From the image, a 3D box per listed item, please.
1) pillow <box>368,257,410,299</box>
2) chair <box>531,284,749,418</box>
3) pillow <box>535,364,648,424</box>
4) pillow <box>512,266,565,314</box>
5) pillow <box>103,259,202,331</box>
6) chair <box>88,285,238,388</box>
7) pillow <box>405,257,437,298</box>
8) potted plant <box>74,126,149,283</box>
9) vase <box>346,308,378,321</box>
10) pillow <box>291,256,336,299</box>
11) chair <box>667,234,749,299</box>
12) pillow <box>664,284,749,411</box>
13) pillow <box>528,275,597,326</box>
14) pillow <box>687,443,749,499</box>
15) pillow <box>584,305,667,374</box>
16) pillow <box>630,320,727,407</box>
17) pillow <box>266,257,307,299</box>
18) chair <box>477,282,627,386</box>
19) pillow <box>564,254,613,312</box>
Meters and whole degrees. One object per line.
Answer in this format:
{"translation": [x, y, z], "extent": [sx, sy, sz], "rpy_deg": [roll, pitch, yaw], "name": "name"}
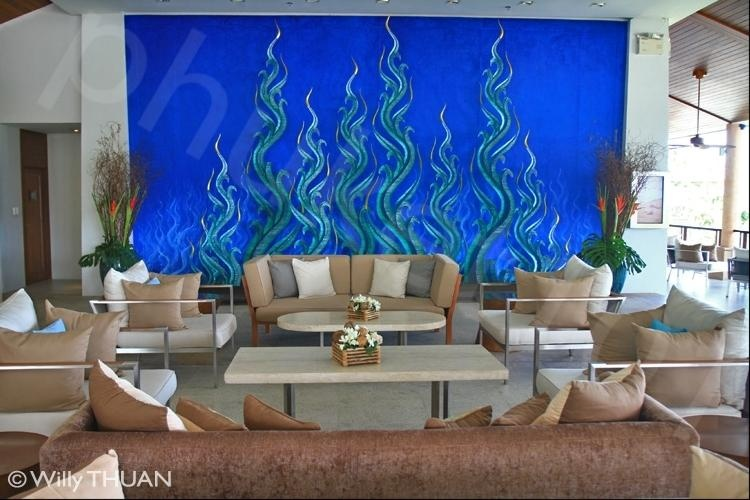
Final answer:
{"translation": [0.168, 0.372, 7.458], "extent": [0.414, 0.391, 0.216], "rpy_deg": [9, -29, 18], "name": "pillow"}
{"translation": [2.338, 0.756, 4.812], "extent": [1.089, 0.838, 1.115], "rpy_deg": [-1, 0, 13], "name": "chair"}
{"translation": [1.334, 1.013, 3.769], "extent": [0.671, 0.310, 0.282], "rpy_deg": [-5, -29, -28], "name": "pillow"}
{"translation": [1.773, 0.451, 6.403], "extent": [0.533, 0.458, 0.198], "rpy_deg": [0, 0, -15], "name": "pillow"}
{"translation": [-2.331, 0.557, 6.043], "extent": [0.769, 0.745, 0.276], "rpy_deg": [4, -28, -8], "name": "pillow"}
{"translation": [-2.134, 0.793, 6.087], "extent": [1.220, 0.879, 1.072], "rpy_deg": [0, 5, -9], "name": "chair"}
{"translation": [0.575, 0.367, 7.417], "extent": [0.457, 0.444, 0.164], "rpy_deg": [2, -24, 28], "name": "pillow"}
{"translation": [-3.964, -0.764, 8.867], "extent": [0.814, 2.369, 0.627], "rpy_deg": [2, 4, -2], "name": "potted plant"}
{"translation": [-0.142, 0.695, 6.206], "extent": [0.175, 0.072, 0.173], "rpy_deg": [1, 2, 21], "name": "vase"}
{"translation": [-0.792, 0.363, 7.412], "extent": [0.434, 0.391, 0.217], "rpy_deg": [-14, 14, -29], "name": "pillow"}
{"translation": [6.140, 0.248, 10.522], "extent": [1.419, 0.897, 1.054], "rpy_deg": [-2, 5, -26], "name": "chair"}
{"translation": [2.639, 0.803, 4.688], "extent": [0.323, 0.766, 0.838], "rpy_deg": [13, 0, -15], "name": "pillow"}
{"translation": [1.927, 0.524, 5.985], "extent": [0.522, 0.478, 0.182], "rpy_deg": [2, 3, 6], "name": "pillow"}
{"translation": [2.050, 1.334, 3.512], "extent": [0.338, 0.314, 0.101], "rpy_deg": [-1, -34, 29], "name": "pillow"}
{"translation": [2.042, 0.738, 4.796], "extent": [0.736, 0.631, 0.268], "rpy_deg": [1, -2, -4], "name": "pillow"}
{"translation": [2.282, 0.868, 4.381], "extent": [0.657, 0.591, 0.235], "rpy_deg": [0, -4, 2], "name": "pillow"}
{"translation": [-1.149, 0.355, 7.356], "extent": [0.141, 0.412, 0.456], "rpy_deg": [-15, -8, 43], "name": "pillow"}
{"translation": [1.767, 0.817, 6.231], "extent": [1.176, 0.831, 1.063], "rpy_deg": [0, 0, 4], "name": "chair"}
{"translation": [2.302, 0.369, 6.325], "extent": [0.224, 0.470, 0.630], "rpy_deg": [-3, 1, -1], "name": "pillow"}
